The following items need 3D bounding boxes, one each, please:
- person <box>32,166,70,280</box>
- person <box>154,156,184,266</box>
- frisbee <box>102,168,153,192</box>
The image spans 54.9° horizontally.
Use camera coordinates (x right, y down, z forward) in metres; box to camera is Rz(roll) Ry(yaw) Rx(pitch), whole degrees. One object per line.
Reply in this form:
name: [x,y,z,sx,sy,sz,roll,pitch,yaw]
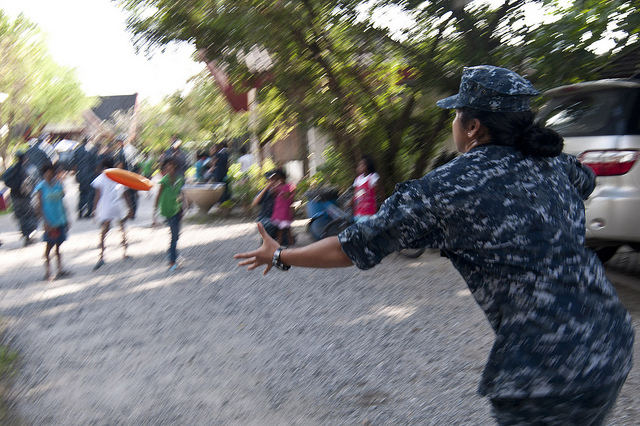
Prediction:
person: [-4.082,0.134,9.338,0.368,1.656,0.683,-5,10,-1]
person: [-2.304,-0.039,9.671,0.387,1.605,0.747,-7,10,-14]
frisbee: [-3.326,-0.580,10.650,0.587,0.115,0.572,19,2,30]
